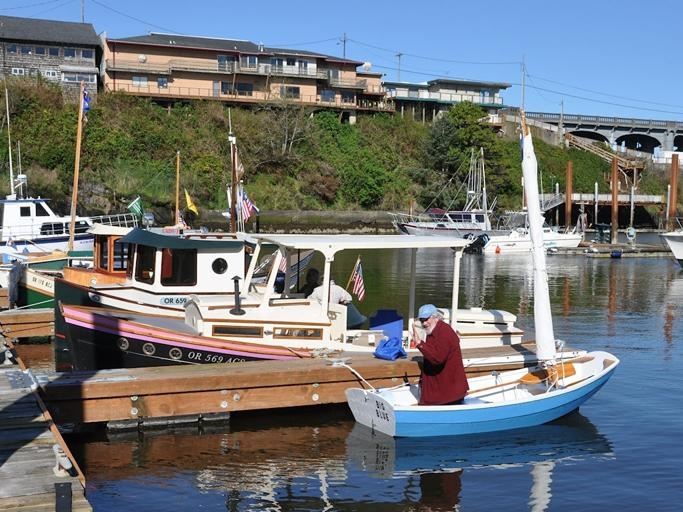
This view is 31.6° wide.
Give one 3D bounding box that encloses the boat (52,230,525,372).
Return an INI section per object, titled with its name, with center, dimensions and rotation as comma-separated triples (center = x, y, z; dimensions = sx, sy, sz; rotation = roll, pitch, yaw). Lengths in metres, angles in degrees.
[boat]
center = -2.305, 1.660, 42.167
dimensions = 9.590, 2.725, 16.219
rotation = -7, 9, -31

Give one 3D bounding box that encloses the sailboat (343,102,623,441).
[sailboat]
center = 3.365, 2.424, 39.857
dimensions = 7.462, 10.471, 7.954
rotation = -4, 6, -32
